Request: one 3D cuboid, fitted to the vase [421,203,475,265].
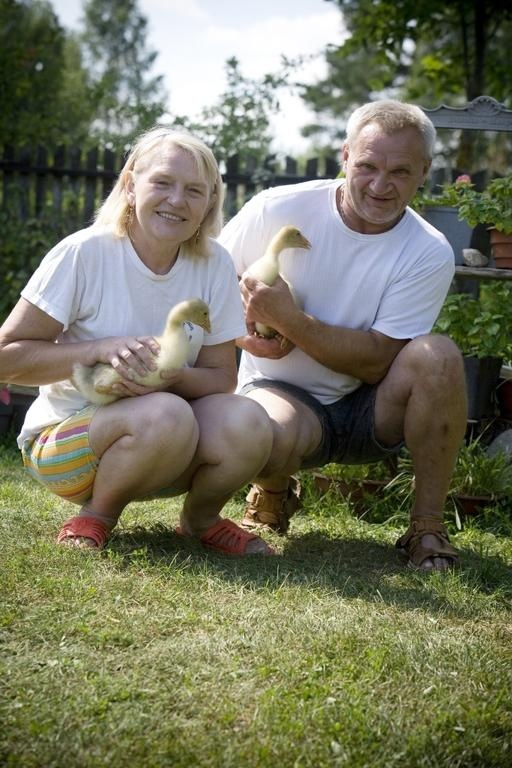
[{"bbox_3d":[1.178,-0.973,5.198,0.377,0.370,0.295,-7,9,-20],"label":"vase"}]

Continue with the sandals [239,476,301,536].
[{"bbox_3d":[0.058,0.543,3.497,0.306,0.247,0.236,5,0,-6],"label":"sandals"}]

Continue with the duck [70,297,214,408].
[{"bbox_3d":[-0.371,-0.105,2.763,0.522,0.414,0.265,-4,18,-44],"label":"duck"}]

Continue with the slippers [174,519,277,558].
[{"bbox_3d":[-0.116,0.548,2.928,0.334,0.112,0.111,13,30,15],"label":"slippers"}]

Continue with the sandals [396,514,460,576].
[{"bbox_3d":[0.675,0.609,3.129,0.216,0.130,0.349,-4,13,-3],"label":"sandals"}]
